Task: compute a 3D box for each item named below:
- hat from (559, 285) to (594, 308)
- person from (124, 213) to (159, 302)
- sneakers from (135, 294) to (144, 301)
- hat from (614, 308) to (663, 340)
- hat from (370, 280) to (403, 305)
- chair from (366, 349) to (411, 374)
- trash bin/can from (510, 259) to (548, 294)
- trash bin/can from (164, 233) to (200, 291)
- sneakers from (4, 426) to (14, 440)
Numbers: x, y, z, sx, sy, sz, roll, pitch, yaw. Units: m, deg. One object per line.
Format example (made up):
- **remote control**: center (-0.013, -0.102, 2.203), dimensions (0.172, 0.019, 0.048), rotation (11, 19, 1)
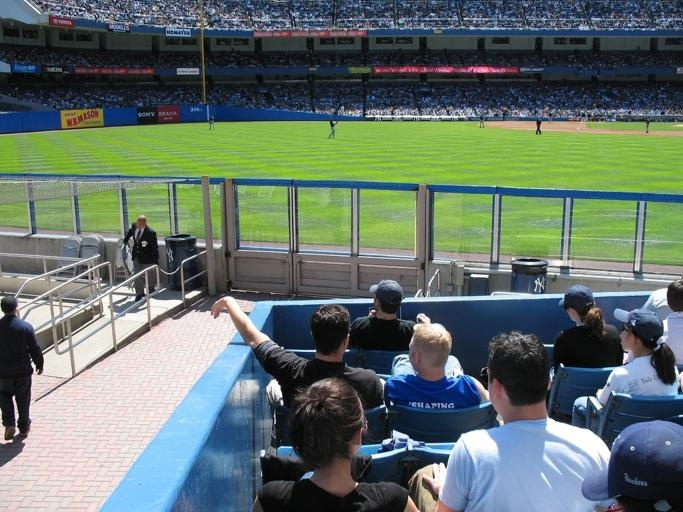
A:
- **hat**: center (2.758, 0.480, 10.307), dimensions (0.354, 0.263, 0.404), rotation (3, 8, 12)
- **person**: center (-3.793, 0.042, 16.666), dimensions (0.477, 1.632, 0.871), rotation (-6, 11, -41)
- **sneakers**: center (-3.867, 0.803, 16.704), dimensions (0.091, 0.155, 0.112), rotation (13, -9, 36)
- **hat**: center (3.171, 0.669, 9.399), dimensions (0.563, 0.222, 0.365), rotation (23, 17, 26)
- **hat**: center (0.524, 0.403, 10.380), dimensions (0.290, 0.273, 0.529), rotation (1, 8, -5)
- **chair**: center (0.462, 1.257, 10.302), dimensions (0.470, 0.364, 0.324), rotation (0, -1, 6)
- **trash bin/can**: center (3.159, 0.400, 15.010), dimensions (0.648, 0.603, 0.614), rotation (4, 14, 18)
- **trash bin/can**: center (-3.167, 0.150, 17.158), dimensions (0.653, 1.049, 0.618), rotation (3, 8, 12)
- **sneakers**: center (-4.611, 2.468, 12.146), dimensions (0.144, 0.193, 0.121), rotation (-2, 9, -23)
